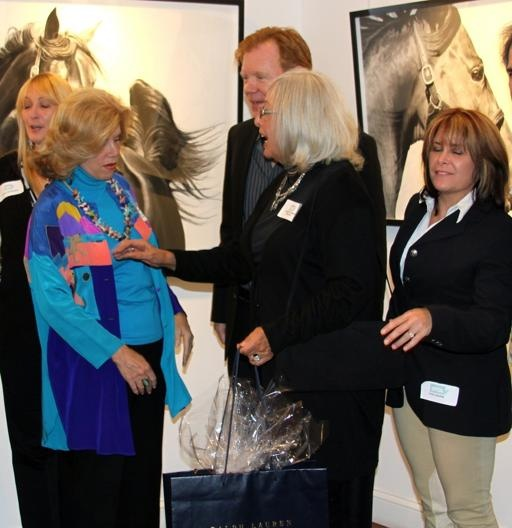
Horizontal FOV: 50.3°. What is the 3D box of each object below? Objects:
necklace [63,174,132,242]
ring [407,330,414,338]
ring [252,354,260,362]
[{"bbox_3d":[-0.550,-0.191,1.919,0.049,0.240,0.174,-22,11,43],"label":"necklace"},{"bbox_3d":[0.450,0.203,1.589,0.011,0.019,0.008,-1,7,1],"label":"ring"},{"bbox_3d":[-0.001,0.270,1.590,0.016,0.019,0.017,-1,6,0],"label":"ring"}]
